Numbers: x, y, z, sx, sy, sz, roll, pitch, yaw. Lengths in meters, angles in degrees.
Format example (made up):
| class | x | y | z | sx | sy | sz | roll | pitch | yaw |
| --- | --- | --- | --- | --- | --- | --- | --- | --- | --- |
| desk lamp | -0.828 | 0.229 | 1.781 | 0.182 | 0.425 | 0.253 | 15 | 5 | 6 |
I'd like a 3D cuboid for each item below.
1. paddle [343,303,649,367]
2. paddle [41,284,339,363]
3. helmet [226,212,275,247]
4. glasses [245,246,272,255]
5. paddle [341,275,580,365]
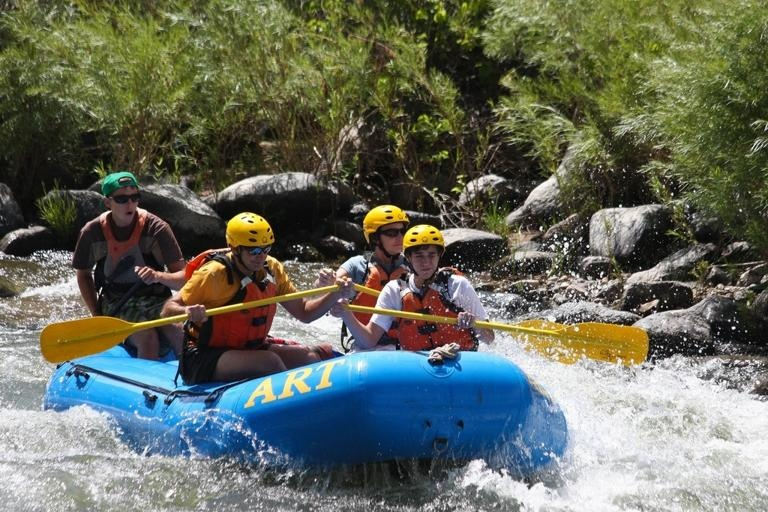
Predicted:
| class | x | y | z | sx | sy | sz | roll | pitch | yaw |
| --- | --- | --- | --- | --- | --- | --- | --- | --- | --- |
| paddle | 1.170 | 0.872 | 10.374 | 2.819 | 0.567 | 0.199 | 9 | 21 | 1 |
| paddle | -2.083 | 0.733 | 10.322 | 3.057 | 0.556 | 0.168 | -10 | 29 | -3 |
| helmet | -1.412 | -0.262 | 9.962 | 0.451 | 0.403 | 0.648 | -6 | 2 | -36 |
| glasses | -1.263 | -0.066 | 9.755 | 0.249 | 0.111 | 0.106 | -2 | 19 | -30 |
| paddle | 0.807 | 0.734 | 10.596 | 1.892 | 0.548 | 0.405 | 14 | 54 | 7 |
